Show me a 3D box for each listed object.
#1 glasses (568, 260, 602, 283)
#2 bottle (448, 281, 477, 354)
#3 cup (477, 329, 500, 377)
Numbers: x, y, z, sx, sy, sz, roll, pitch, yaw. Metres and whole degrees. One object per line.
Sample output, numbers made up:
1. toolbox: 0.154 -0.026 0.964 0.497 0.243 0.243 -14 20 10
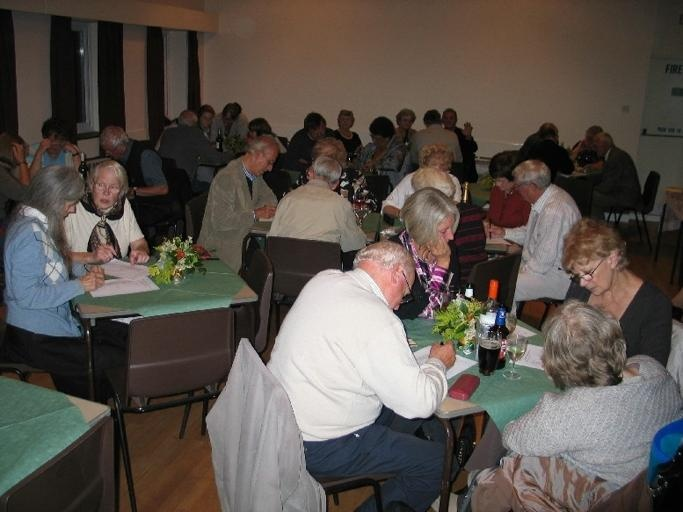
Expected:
1. glasses: 1.264 0.094 2.716 0.101 0.033 0.097 -32 17 -34
2. bottle: 0.629 0.312 2.654 0.127 0.337 0.251 6 14 15
3. cup: 0.693 0.444 2.456 0.099 0.232 0.095 2 13 0
